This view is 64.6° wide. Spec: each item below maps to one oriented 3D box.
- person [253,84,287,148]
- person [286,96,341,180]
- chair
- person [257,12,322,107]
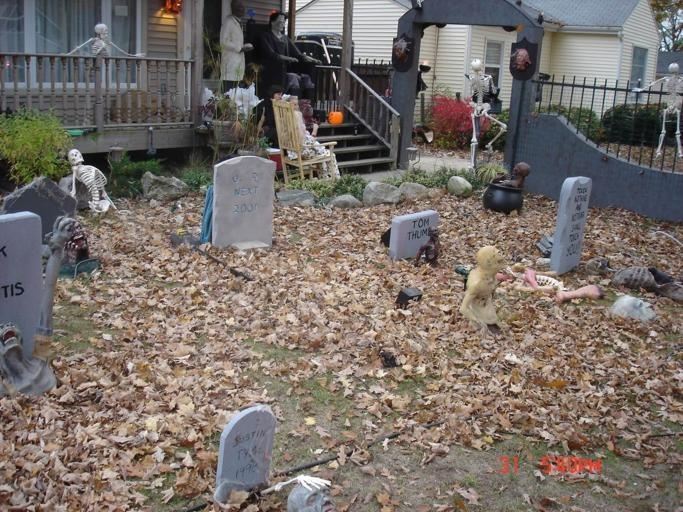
[{"bbox_3d":[-1.708,-3.310,12.769,0.348,1.558,0.902,1,4,24],"label":"person"},{"bbox_3d":[-0.593,-2.396,11.592,1.013,1.965,0.819,-9,20,-17],"label":"person"},{"bbox_3d":[-0.800,-2.392,11.310,1.269,1.729,1.044,1,16,-9],"label":"chair"},{"bbox_3d":[-1.296,-4.805,13.326,1.235,2.183,1.094,-15,21,-42],"label":"person"}]
